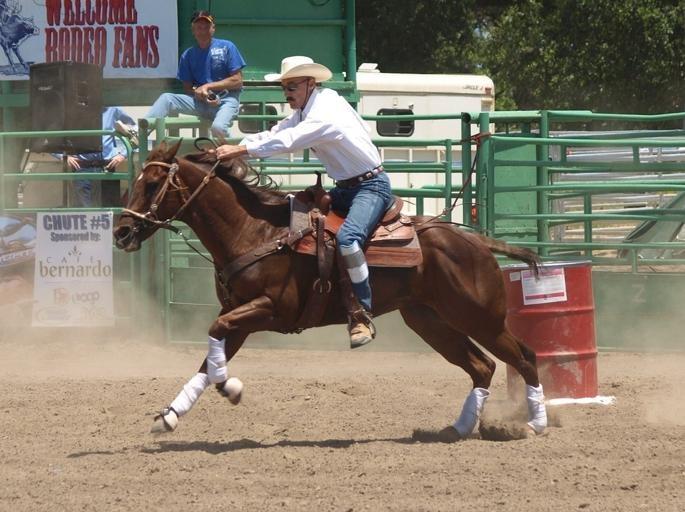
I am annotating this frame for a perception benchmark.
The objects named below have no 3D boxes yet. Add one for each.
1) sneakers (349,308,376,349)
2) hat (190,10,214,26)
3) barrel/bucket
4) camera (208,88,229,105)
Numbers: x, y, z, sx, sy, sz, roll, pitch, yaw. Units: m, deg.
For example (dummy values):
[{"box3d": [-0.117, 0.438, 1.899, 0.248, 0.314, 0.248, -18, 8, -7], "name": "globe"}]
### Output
[{"box3d": [0.191, 0.780, 13.837, 0.263, 0.436, 0.210, 0, 5, -1], "name": "sneakers"}, {"box3d": [-1.950, -3.334, 17.682, 0.280, 0.200, 0.384, -5, -3, -5], "name": "hat"}, {"box3d": [2.510, 0.926, 15.441, 1.203, 1.610, 1.155, -4, -1, 0], "name": "barrel/bucket"}, {"box3d": [-1.703, -2.178, 17.422, 0.256, 0.144, 0.087, -1, -1, -32], "name": "camera"}]
